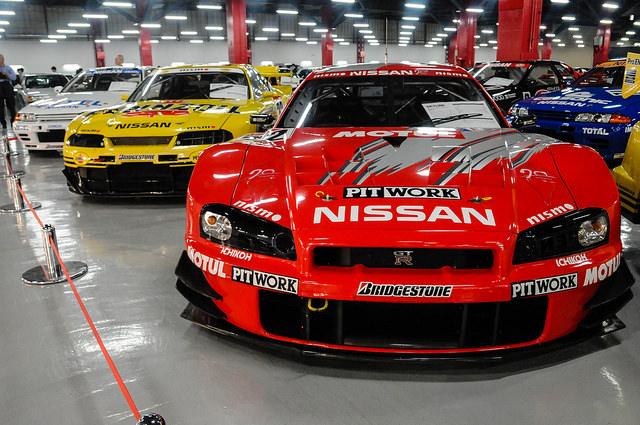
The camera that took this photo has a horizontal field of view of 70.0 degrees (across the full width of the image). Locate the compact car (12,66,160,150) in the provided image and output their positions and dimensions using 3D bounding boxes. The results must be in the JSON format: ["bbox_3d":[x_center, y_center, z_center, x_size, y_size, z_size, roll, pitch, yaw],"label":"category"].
[{"bbox_3d":[-4.054,-1.738,7.453,1.634,0.868,3.081,1,11,4],"label":"compact car"}]

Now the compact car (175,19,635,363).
[{"bbox_3d":[0.473,-0.069,2.810,1.886,0.735,2.534,1,16,2],"label":"compact car"}]

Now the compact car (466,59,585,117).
[{"bbox_3d":[4.472,-2.565,9.281,1.980,0.647,1.073,-12,19,26],"label":"compact car"}]

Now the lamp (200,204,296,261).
[{"bbox_3d":[-0.377,0.099,2.363,0.467,0.104,0.288,12,14,-2],"label":"lamp"}]

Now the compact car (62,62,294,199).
[{"bbox_3d":[-1.519,-1.065,5.450,1.832,0.758,2.666,2,12,9],"label":"compact car"}]

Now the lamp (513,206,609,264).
[{"bbox_3d":[1.214,0.115,2.284,0.456,0.118,0.322,-8,0,4],"label":"lamp"}]
